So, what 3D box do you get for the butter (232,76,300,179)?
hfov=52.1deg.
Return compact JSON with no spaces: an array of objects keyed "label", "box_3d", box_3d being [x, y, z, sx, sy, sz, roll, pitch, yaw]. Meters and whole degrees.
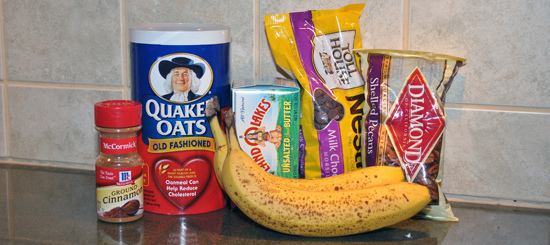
[{"label":"butter","box_3d":[-0.021,0.012,2.021,0.287,0.294,0.180,-3,6,7]}]
